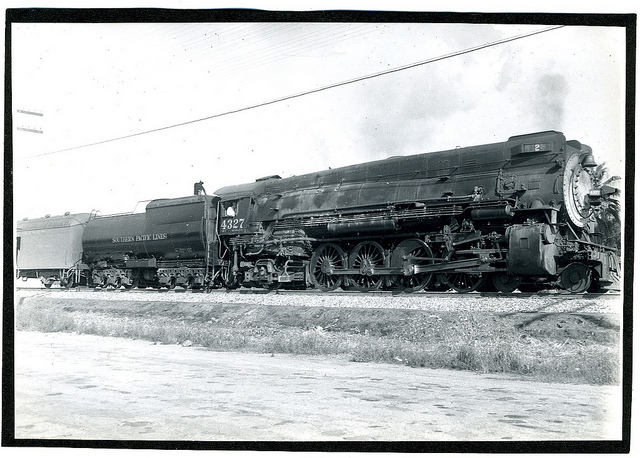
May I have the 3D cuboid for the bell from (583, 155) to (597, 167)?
[{"bbox_3d":[7.452,-1.874,15.485,0.371,0.297,0.129,-4,7,-7],"label":"bell"}]
